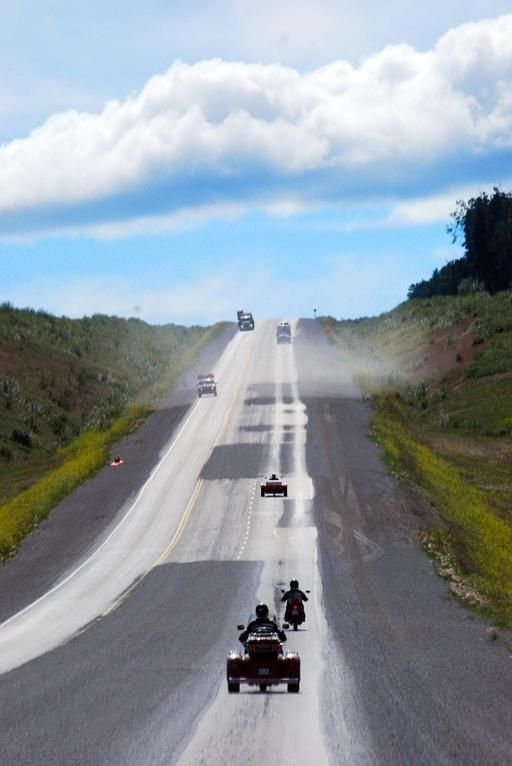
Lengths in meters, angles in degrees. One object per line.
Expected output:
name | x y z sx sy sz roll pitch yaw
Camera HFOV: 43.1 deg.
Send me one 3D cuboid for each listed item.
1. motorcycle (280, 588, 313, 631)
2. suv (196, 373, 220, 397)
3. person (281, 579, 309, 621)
motorcycle | 0.938 5.389 15.670 0.525 0.951 1.363 1 7 3
suv | -3.735 0.291 49.097 0.904 1.112 1.919 0 23 -2
person | 0.936 5.222 15.653 0.492 0.875 1.190 2 11 3
